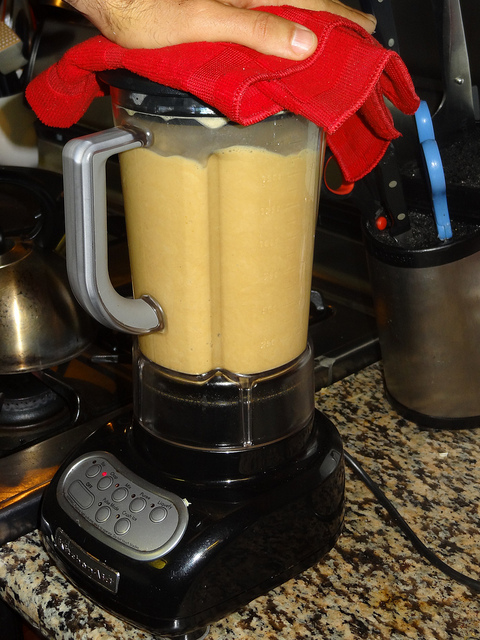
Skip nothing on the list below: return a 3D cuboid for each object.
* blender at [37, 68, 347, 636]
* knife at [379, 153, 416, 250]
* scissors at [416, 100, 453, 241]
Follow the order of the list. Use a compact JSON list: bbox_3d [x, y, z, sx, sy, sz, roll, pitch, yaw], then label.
[{"bbox_3d":[-0.005,0.007,0.460,0.223,0.359,0.239,-12,29,-31],"label":"blender"},{"bbox_3d":[0.144,-0.109,0.531,0.028,0.086,0.071,-2,15,16],"label":"knife"},{"bbox_3d":[0.176,-0.134,0.523,0.029,0.123,0.034,-4,15,9],"label":"scissors"}]
